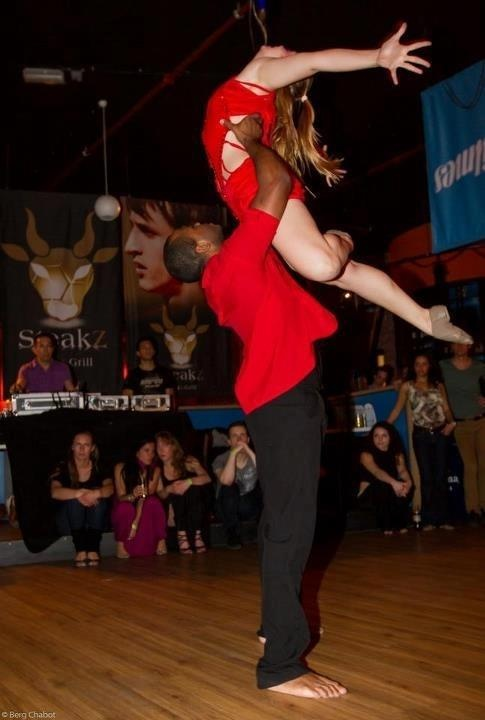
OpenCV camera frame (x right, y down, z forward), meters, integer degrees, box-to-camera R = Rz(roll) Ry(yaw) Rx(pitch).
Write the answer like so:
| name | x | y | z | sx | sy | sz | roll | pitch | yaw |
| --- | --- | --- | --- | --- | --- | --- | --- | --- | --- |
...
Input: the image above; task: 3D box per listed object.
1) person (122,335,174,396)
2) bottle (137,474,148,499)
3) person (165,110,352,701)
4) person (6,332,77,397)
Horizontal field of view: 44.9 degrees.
| name | x | y | z | sx | sy | sz | roll | pitch | yaw |
| --- | --- | --- | --- | --- | --- | --- | --- | --- | --- |
| person | -0.993 | 0.142 | 6.265 | 0.614 | 0.787 | 0.470 | -6 | 8 | -25 |
| bottle | -0.748 | 0.940 | 4.371 | 0.054 | 0.162 | 0.210 | -3 | 0 | -10 |
| person | 0.062 | 0.141 | 1.357 | 0.296 | 1.368 | 0.331 | -4 | 0 | 15 |
| person | -2.061 | 0.189 | 6.104 | 0.677 | 0.856 | 0.489 | -1 | -7 | -26 |
